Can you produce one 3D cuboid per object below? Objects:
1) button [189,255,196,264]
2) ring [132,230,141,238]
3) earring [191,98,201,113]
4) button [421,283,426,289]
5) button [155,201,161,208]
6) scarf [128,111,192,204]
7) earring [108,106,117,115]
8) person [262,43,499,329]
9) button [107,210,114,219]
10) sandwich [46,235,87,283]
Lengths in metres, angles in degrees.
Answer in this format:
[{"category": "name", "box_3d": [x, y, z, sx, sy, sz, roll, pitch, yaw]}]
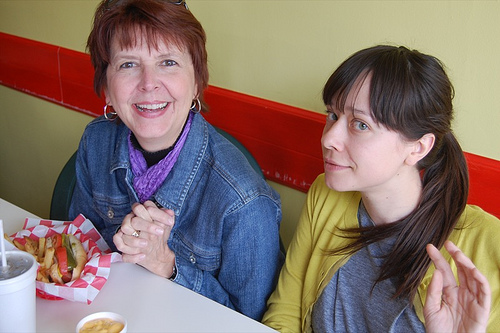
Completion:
[{"category": "button", "box_3d": [-0.227, 0.368, 1.552, 0.025, 0.025, 0.009, -21, 16, 29]}, {"category": "ring", "box_3d": [-0.380, 0.219, 1.305, 0.023, 0.018, 0.068, 7, 1, -15]}, {"category": "earring", "box_3d": [-0.225, -0.267, 1.671, 0.011, 0.045, 0.047, -14, 21, 20]}, {"category": "button", "box_3d": [0.575, 0.396, 1.292, 0.017, 0.017, 0.004, -14, -34, 27]}, {"category": "button", "box_3d": [-0.368, 0.150, 1.554, 0.018, 0.016, 0.004, 34, 45, 24]}, {"category": "scarf", "box_3d": [-0.383, -0.034, 1.623, 0.218, 0.371, 0.091, 8, 5, 8]}, {"category": "earring", "box_3d": [-0.625, -0.257, 1.777, 0.029, 0.028, 0.007, -2, -7, 23]}, {"category": "person", "box_3d": [0.466, 0.126, 1.346, 0.747, 1.039, 0.303, 8, 2, 15]}, {"category": "button", "box_3d": [-0.602, 0.205, 1.690, 0.030, 0.029, 0.015, 8, 2, 16]}, {"category": "sandwich", "box_3d": [-0.595, 0.277, 1.283, 0.100, 0.054, 0.172, -5, 37, -17]}]
